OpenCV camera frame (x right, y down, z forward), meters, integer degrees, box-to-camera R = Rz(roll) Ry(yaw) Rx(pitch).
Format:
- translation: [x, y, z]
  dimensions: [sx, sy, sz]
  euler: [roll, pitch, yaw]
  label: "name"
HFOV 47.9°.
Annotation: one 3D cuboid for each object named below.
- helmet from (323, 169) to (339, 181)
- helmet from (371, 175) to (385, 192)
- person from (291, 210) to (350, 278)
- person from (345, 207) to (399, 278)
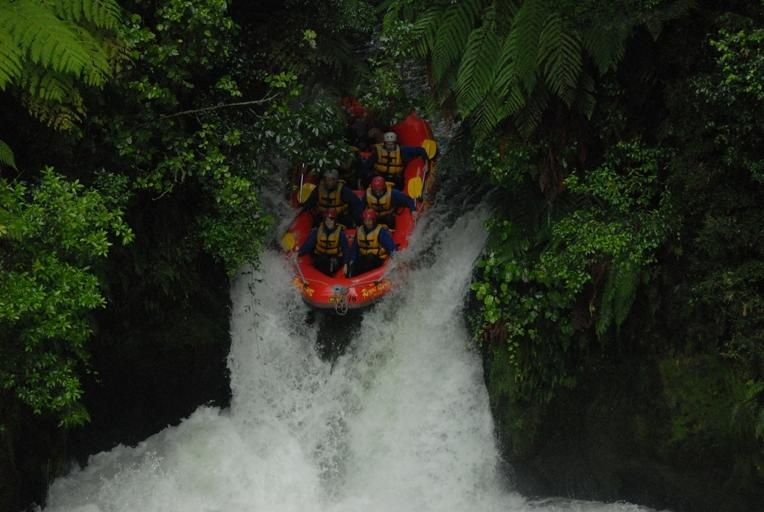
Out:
- translation: [-0.943, -1.501, 15.937]
  dimensions: [0.276, 0.283, 0.267]
  euler: [-4, 22, -16]
  label: "helmet"
- translation: [-0.081, -1.347, 16.143]
  dimensions: [0.302, 0.278, 0.258]
  euler: [0, 21, -7]
  label: "helmet"
- translation: [-1.050, -0.234, 15.767]
  dimensions: [0.861, 1.153, 0.381]
  euler: [1, 20, -3]
  label: "person"
- translation: [-0.259, -0.116, 15.720]
  dimensions: [0.949, 1.390, 0.848]
  euler: [-7, 9, -36]
  label: "person"
